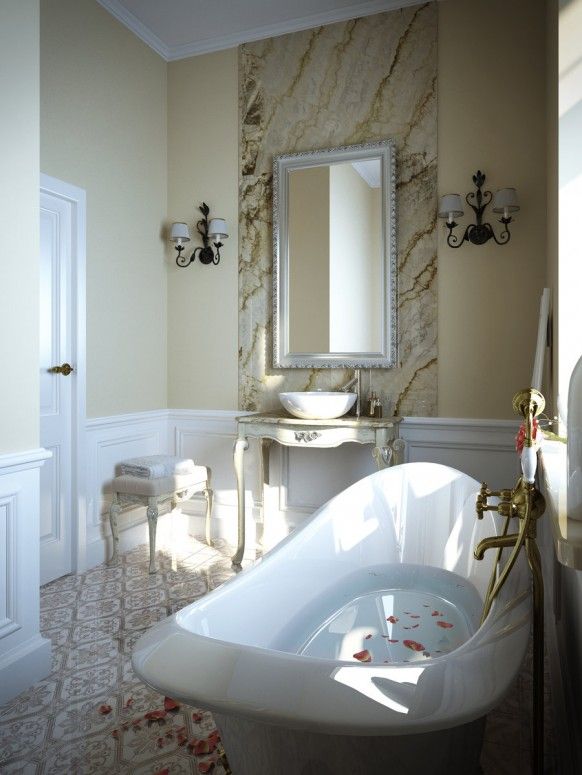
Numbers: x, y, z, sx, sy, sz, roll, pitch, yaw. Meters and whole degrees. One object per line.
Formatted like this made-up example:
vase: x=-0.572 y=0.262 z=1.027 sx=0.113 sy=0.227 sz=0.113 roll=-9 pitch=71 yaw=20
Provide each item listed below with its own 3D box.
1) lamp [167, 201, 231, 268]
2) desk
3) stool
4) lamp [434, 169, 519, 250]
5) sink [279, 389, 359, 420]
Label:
lamp: x=-0.546 y=-0.945 z=3.544 sx=0.342 sy=0.429 sz=0.201 roll=-1 pitch=-2 yaw=7
desk: x=0.109 y=0.575 z=3.146 sx=0.779 sy=0.918 sz=0.512 roll=4 pitch=6 yaw=12
stool: x=-0.707 y=0.682 z=3.233 sx=0.305 sy=0.557 sz=0.528 roll=2 pitch=4 yaw=29
lamp: x=0.927 y=-0.889 z=2.870 sx=0.352 sy=0.404 sz=0.119 roll=0 pitch=-6 yaw=24
sink: x=0.137 y=0.095 z=2.927 sx=0.369 sy=0.134 sz=0.220 roll=-1 pitch=1 yaw=1
